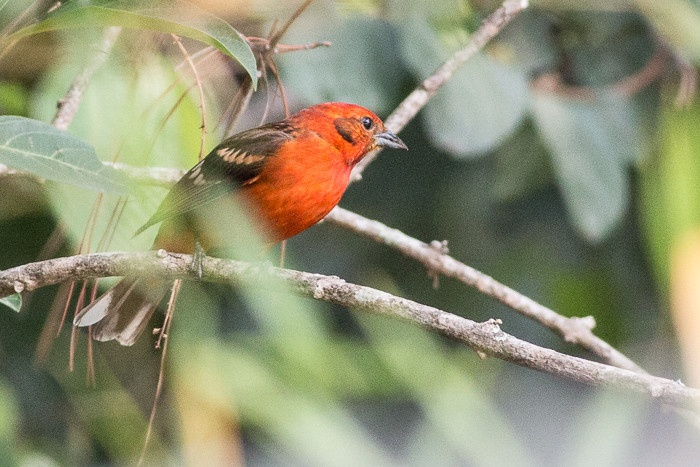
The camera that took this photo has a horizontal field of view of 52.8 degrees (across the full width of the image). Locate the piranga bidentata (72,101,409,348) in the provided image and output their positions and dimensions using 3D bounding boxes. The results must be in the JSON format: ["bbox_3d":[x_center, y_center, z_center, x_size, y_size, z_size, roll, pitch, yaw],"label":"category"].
[{"bbox_3d":[-0.243,-0.092,1.569,0.747,0.265,0.293,-11,77,-4],"label":"piranga bidentata"}]
